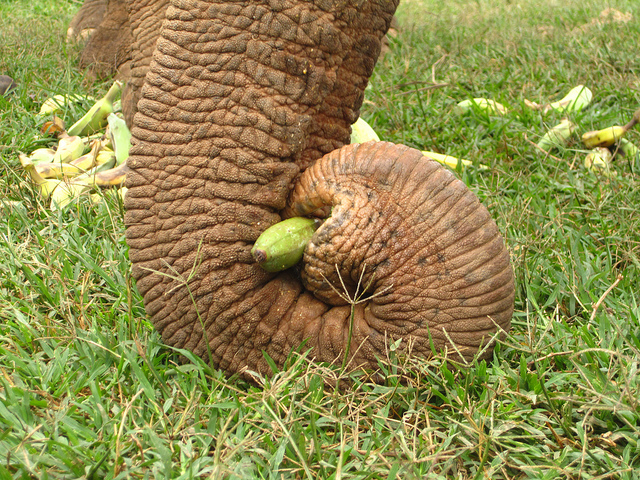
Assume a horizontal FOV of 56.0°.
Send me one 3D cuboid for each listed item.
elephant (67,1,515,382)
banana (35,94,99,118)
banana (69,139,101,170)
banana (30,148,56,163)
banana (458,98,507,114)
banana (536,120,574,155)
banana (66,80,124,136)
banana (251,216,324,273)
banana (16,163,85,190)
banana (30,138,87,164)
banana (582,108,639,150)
[{"bbox_3d":[-0.038,-0.133,2.124,1.246,1.038,1.049,-2,50,-15],"label":"elephant"},{"bbox_3d":[-1.662,-0.898,3.945,0.290,0.090,0.224,-31,45,-21],"label":"banana"},{"bbox_3d":[-1.290,-0.454,3.272,0.069,0.133,0.213,45,35,-15],"label":"banana"},{"bbox_3d":[-1.496,-0.480,3.260,0.115,0.033,0.097,16,50,-7],"label":"banana"},{"bbox_3d":[1.071,-0.895,3.961,0.381,0.072,0.105,-2,54,11],"label":"banana"},{"bbox_3d":[1.415,-0.659,3.586,0.353,0.109,0.110,-34,38,-22],"label":"banana"},{"bbox_3d":[-1.343,-0.792,3.680,0.157,0.436,0.128,52,19,-19],"label":"banana"},{"bbox_3d":[-0.116,0.007,2.124,0.150,0.145,0.307,37,43,28],"label":"banana"},{"bbox_3d":[-1.391,-0.369,3.126,0.338,0.223,0.113,-6,85,-16],"label":"banana"},{"bbox_3d":[-1.424,-0.498,3.324,0.197,0.067,0.277,16,34,32],"label":"banana"},{"bbox_3d":[1.616,-0.603,3.452,0.385,0.148,0.108,-24,54,24],"label":"banana"}]
